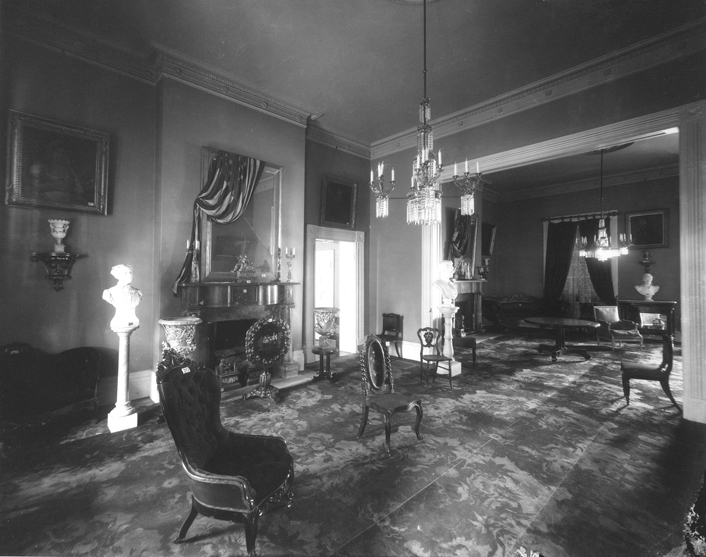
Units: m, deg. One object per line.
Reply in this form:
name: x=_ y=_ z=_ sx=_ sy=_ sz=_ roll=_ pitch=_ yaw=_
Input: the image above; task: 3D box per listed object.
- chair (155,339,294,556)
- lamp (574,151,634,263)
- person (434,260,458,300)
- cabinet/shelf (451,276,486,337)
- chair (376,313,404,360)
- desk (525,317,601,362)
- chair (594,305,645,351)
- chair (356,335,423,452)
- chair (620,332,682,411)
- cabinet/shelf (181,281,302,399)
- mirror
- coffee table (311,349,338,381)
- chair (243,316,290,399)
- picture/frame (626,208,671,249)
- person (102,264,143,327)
chair: x=-1.179 y=1.526 z=5.400 sx=1.443 sy=2.334 sz=1.386 roll=0 pitch=2 yaw=13
lamp: x=5.357 y=-1.406 z=10.765 sx=1.036 sy=2.054 sz=2.278 roll=1 pitch=0 yaw=24
person: x=1.553 y=0.048 z=8.431 sx=0.319 sy=0.691 sz=0.903 roll=1 pitch=0 yaw=11
cabinet/shelf: x=2.692 y=0.659 z=11.719 sx=0.456 sy=1.137 sz=1.080 roll=6 pitch=-6 yaw=-34
chair: x=0.801 y=1.035 z=9.323 sx=0.468 sy=0.841 sz=0.511 roll=4 pitch=5 yaw=34
desk: x=3.781 y=1.132 z=9.250 sx=1.135 sy=0.660 sz=1.206 roll=5 pitch=7 yaw=21
chair: x=5.166 y=0.951 z=9.901 sx=0.624 sy=0.892 sz=0.783 roll=-1 pitch=-4 yaw=3
chair: x=0.421 y=1.277 z=5.828 sx=0.681 sy=1.186 sz=0.711 roll=2 pitch=3 yaw=29
chair: x=3.964 y=1.205 z=6.757 sx=0.709 sy=0.982 sz=0.599 roll=3 pitch=1 yaw=45
cabinet/shelf: x=-1.601 y=0.791 z=7.409 sx=1.523 sy=1.543 sz=0.456 roll=-3 pitch=0 yaw=-40
mirror: x=-1.674 y=-0.932 z=7.404 sx=0.078 sy=2.396 sz=1.792 roll=-3 pitch=-4 yaw=38
coffee table: x=-0.371 y=1.314 z=7.952 sx=0.408 sy=0.572 sz=0.421 roll=-2 pitch=-2 yaw=42
chair: x=-1.184 y=1.032 z=7.070 sx=0.621 sy=1.164 sz=0.530 roll=-1 pitch=15 yaw=-29
picture/frame: x=6.348 y=-1.048 z=10.821 sx=0.791 sy=0.983 sz=0.095 roll=-3 pitch=-4 yaw=43
person: x=-2.823 y=0.245 z=6.216 sx=0.408 sy=0.822 sz=0.232 roll=0 pitch=1 yaw=-31
